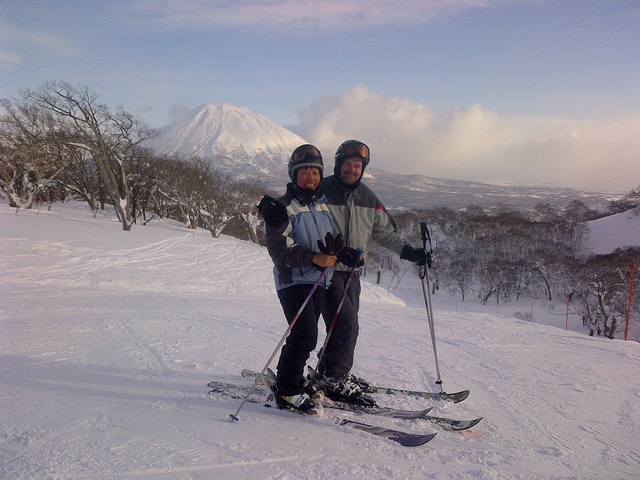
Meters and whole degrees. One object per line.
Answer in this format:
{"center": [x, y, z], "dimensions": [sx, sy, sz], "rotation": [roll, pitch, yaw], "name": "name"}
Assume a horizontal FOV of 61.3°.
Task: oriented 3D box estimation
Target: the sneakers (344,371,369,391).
{"center": [0.512, 1.990, 7.582], "dimensions": [0.315, 0.159, 0.184], "rotation": [37, 1, 38], "name": "sneakers"}

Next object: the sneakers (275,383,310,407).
{"center": [-0.313, 2.095, 7.213], "dimensions": [0.541, 0.271, 0.187], "rotation": [10, 4, 0], "name": "sneakers"}

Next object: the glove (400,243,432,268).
{"center": [1.421, 0.233, 7.826], "dimensions": [0.388, 0.211, 0.297], "rotation": [32, 1, 41], "name": "glove"}

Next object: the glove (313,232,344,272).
{"center": [0.151, 0.082, 7.112], "dimensions": [0.364, 0.345, 0.277], "rotation": [2, 12, -4], "name": "glove"}

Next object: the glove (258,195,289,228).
{"center": [-0.627, -0.353, 7.100], "dimensions": [0.433, 0.326, 0.183], "rotation": [41, -17, 2], "name": "glove"}

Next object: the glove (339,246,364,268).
{"center": [0.426, 0.208, 7.213], "dimensions": [0.307, 0.238, 0.145], "rotation": [14, 28, 13], "name": "glove"}
